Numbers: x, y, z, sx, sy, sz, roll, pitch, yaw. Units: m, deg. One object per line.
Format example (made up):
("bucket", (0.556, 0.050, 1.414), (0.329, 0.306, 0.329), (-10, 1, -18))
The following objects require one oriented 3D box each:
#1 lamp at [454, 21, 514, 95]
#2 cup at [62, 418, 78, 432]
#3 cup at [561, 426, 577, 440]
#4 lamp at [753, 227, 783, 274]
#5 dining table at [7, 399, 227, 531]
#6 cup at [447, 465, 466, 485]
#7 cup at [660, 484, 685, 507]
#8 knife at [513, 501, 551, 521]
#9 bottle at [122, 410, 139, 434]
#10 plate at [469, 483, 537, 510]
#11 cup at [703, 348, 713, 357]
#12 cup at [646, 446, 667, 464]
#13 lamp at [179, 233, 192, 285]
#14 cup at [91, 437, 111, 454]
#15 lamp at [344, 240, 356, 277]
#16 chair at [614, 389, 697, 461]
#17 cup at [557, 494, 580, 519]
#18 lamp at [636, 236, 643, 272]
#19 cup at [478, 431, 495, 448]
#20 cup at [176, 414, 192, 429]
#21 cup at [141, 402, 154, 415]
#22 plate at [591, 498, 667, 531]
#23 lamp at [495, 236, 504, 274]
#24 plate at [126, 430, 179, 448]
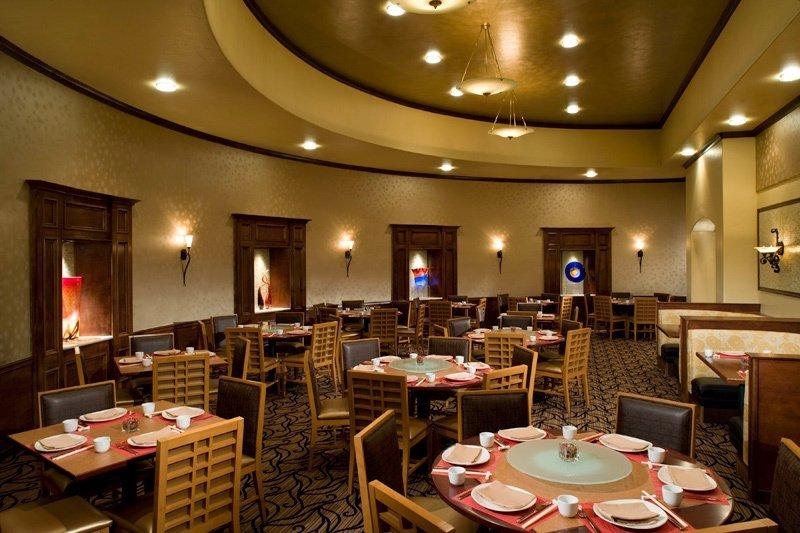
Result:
("lamp", (1.436, -3.263, 9.243), (1.073, 1.326, 1.097), (0, 0, 11))
("cup", (-3.165, 1.489, 5.161), (0.126, 0.097, 0.123), (1, -7, 0))
("cup", (1.538, 1.459, 4.852), (0.144, 0.118, 0.136), (-1, -1, 0))
("lamp", (6.018, -0.245, 8.829), (0.287, 0.735, 0.831), (-2, -2, 21))
("dining table", (-2.646, 1.629, 5.063), (1.165, 0.737, 1.200), (-2, -6, 41))
("cup", (0.452, 1.649, 4.337), (0.115, 0.088, 0.119), (-2, -3, 0))
("cup", (2.086, 1.715, 4.128), (0.138, 0.105, 0.133), (-1, -4, 0))
("knife", (0.979, 1.808, 4.031), (0.303, 0.014, 0.049), (-11, 21, -32))
("bottle", (-2.639, 1.492, 5.264), (0.135, 0.250, 0.133), (2, 13, 0))
("plate", (0.791, 1.737, 4.130), (0.223, 0.055, 0.228), (6, 5, 25))
("cup", (4.301, 1.184, 7.519), (0.105, 0.077, 0.103), (1, -3, 0))
("cup", (2.164, 1.569, 4.557), (0.136, 0.090, 0.130), (-2, -3, 0))
("lamp", (-4.081, -0.115, 10.260), (0.227, 0.960, 0.301), (-1, -2, -23))
("cup", (-2.685, 1.560, 4.844), (0.127, 0.111, 0.137), (1, 5, 0))
("lamp", (-1.251, -0.201, 13.338), (0.298, 0.897, 0.115), (0, -2, -38))
("chair", (2.400, 1.414, 5.186), (0.557, 1.038, 0.608), (-1, -7, 32))
("cup", (1.255, 1.756, 4.031), (0.146, 0.105, 0.140), (-3, 7, 0))
("lamp", (6.763, -0.313, 15.188), (0.194, 0.890, 0.118), (-2, -2, 16))
("cup", (0.766, 1.512, 4.807), (0.114, 0.089, 0.111), (-1, -1, 0))
("cup", (-2.098, 1.471, 5.218), (0.122, 0.101, 0.130), (2, 1, 0))
("cup", (-2.605, 1.439, 5.549), (0.120, 0.092, 0.113), (0, 3, 0))
("plate", (1.716, 1.806, 3.990), (0.257, 0.069, 0.260), (6, 3, 11))
("lamp", (2.813, -0.301, 15.157), (0.309, 0.994, 0.089), (-1, -2, -19))
("plate", (-2.209, 1.523, 4.810), (0.208, 0.057, 0.280), (-2, 0, 28))
